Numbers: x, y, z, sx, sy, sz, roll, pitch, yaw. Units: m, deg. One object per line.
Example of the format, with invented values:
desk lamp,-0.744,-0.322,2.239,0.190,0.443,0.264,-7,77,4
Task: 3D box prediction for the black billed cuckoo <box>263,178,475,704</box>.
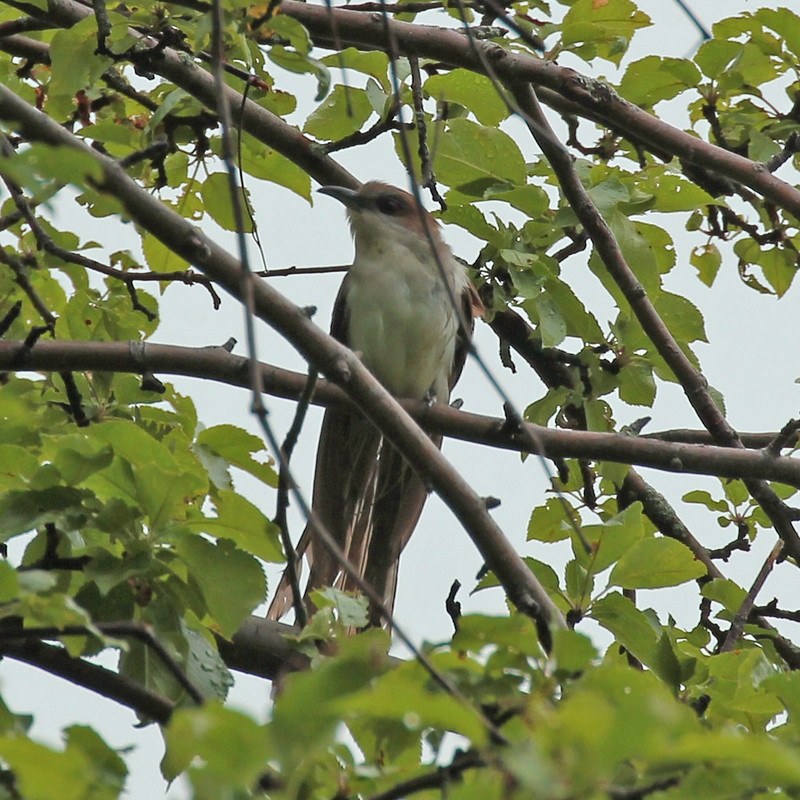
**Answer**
black billed cuckoo,-0.100,-0.031,6.558,0.567,0.663,1.578,3,-98,-7
